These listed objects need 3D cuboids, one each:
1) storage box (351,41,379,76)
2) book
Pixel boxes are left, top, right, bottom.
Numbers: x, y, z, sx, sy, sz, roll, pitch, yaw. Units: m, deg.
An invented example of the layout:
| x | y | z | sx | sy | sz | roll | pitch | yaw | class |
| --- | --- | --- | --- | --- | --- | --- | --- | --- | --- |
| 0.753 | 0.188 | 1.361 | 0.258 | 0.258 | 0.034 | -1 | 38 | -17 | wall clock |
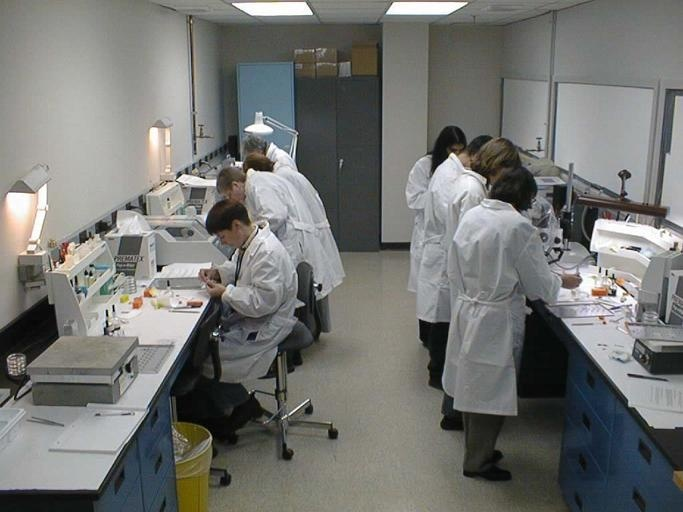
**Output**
| x | y | z | sx | sy | sz | roll | pitch | yaw | class |
| --- | --- | --- | --- | --- | --- | --- | --- | --- | --- |
| 0.271 | -2.329 | 6.350 | 0.307 | 0.363 | 0.321 | 1 | 22 | 4 | storage box |
| -0.954 | 0.677 | 2.131 | 0.282 | 0.054 | 0.266 | -2 | 16 | 4 | book |
